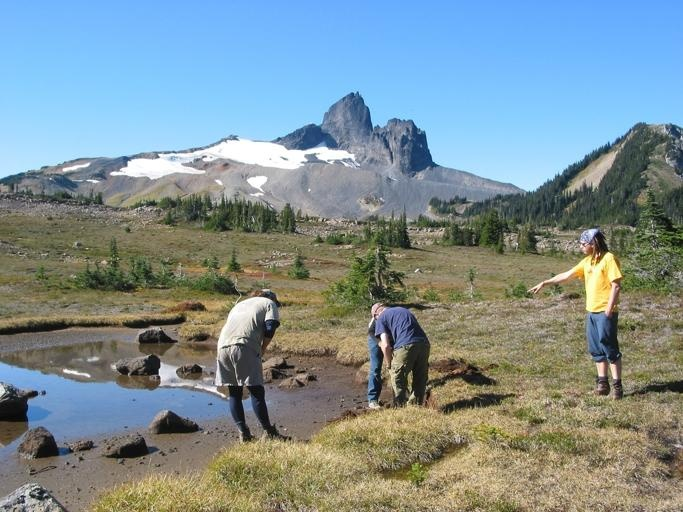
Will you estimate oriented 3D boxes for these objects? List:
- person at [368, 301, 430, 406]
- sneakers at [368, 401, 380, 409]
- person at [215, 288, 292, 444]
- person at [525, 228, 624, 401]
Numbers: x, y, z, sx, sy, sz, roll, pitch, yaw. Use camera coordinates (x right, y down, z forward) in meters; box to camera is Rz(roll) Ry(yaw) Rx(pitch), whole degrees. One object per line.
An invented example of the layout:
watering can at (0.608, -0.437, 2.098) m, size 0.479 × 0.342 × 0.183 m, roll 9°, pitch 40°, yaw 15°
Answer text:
person at (1.666, 2.754, 17.556) m, size 1.343 × 2.717 × 0.772 m, roll -1°, pitch 1°, yaw 4°
sneakers at (0.919, 4.318, 18.676) m, size 0.141 × 0.153 × 0.347 m, roll 7°, pitch -12°, yaw -30°
person at (-2.355, 2.771, 16.280) m, size 1.552 × 3.725 × 0.934 m, roll -1°, pitch 1°, yaw -8°
person at (6.636, 1.504, 17.014) m, size 1.430 × 4.414 × 0.877 m, roll -1°, pitch 1°, yaw 38°
